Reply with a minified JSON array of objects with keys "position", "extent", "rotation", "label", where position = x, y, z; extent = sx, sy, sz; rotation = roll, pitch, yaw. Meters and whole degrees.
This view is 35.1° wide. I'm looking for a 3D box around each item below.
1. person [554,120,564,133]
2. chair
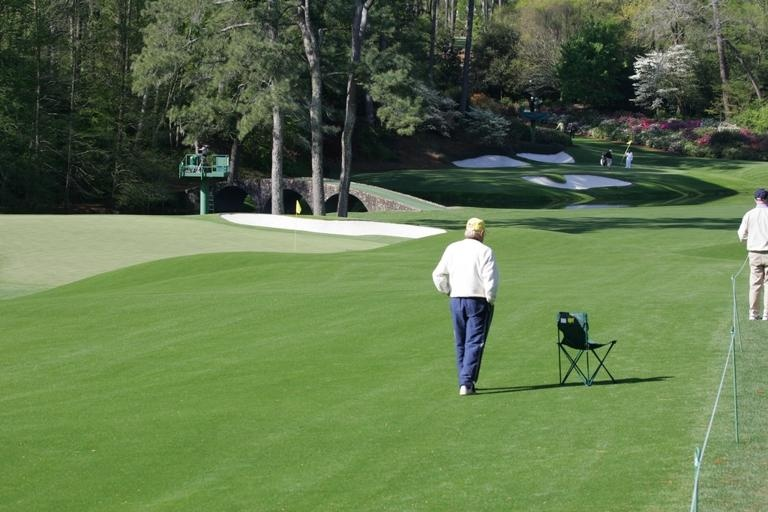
[{"position":[16.564,-12.149,115.558],"extent":[0.671,0.173,3.651],"rotation":[8,29,14],"label":"person"},{"position":[7.023,3.058,42.405],"extent":[2.054,2.492,3.195],"rotation":[1,4,9],"label":"chair"}]
